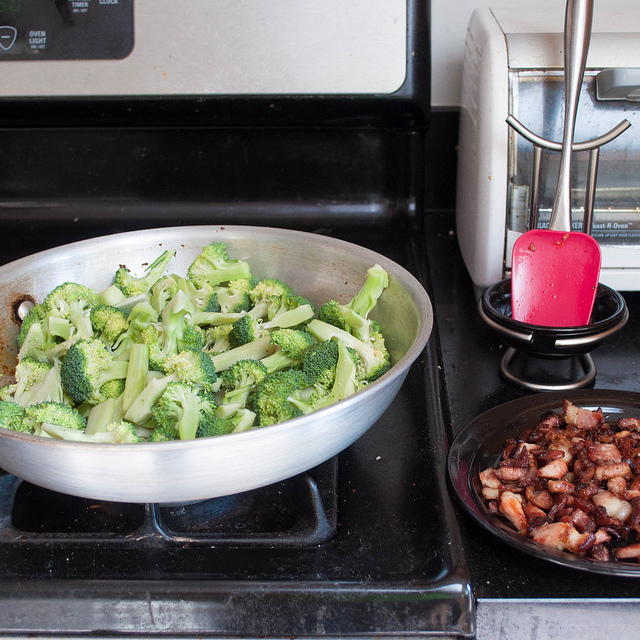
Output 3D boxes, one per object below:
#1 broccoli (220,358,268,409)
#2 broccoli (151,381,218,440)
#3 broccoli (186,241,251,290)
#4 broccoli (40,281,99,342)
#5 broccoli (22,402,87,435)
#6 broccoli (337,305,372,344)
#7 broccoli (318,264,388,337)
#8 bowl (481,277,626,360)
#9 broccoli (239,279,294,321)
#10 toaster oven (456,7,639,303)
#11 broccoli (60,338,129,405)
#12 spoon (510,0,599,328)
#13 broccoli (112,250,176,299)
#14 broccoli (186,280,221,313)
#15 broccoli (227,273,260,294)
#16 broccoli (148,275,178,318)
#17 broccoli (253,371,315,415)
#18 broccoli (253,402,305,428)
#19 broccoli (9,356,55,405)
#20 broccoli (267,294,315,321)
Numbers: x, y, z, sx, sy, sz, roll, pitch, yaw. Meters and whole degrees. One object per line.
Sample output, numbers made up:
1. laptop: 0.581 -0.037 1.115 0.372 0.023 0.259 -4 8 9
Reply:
1. broccoli: -0.086 0.065 0.727 0.044 0.049 0.065 4 22 10
2. broccoli: -0.143 0.093 0.663 0.057 0.062 0.032 26 42 -20
3. broccoli: -0.145 -0.076 0.898 0.063 0.067 0.082 -8 27 -8
4. broccoli: -0.324 -0.023 0.838 0.072 0.082 0.067 -15 28 -22
5. broccoli: -0.273 0.096 0.642 0.035 0.016 0.036 5 4 9
6. broccoli: 0.042 0.008 0.827 0.022 0.028 0.054 13 30 -42
7. broccoli: 0.045 -0.023 0.827 0.066 0.046 0.098 31 82 11
8. bowl: 0.290 -0.028 0.847 0.175 0.102 0.153 -1 16 -1
9. broccoli: -0.074 -0.034 0.861 0.065 0.055 0.058 15 28 24
10. toaster oven: 0.304 -0.227 0.938 0.239 0.410 0.217 -2 28 -3
11. broccoli: -0.262 0.046 0.745 0.070 0.066 0.068 -17 17 -17
12. spoon: 0.304 -0.134 0.856 0.089 0.534 0.089 3 17 10
13. broccoli: -0.244 -0.065 0.900 0.047 0.078 0.036 -24 56 15
14. broccoli: -0.160 -0.029 0.874 0.036 0.021 0.045 -38 83 -26
15. broccoli: -0.108 -0.052 0.889 0.033 0.013 0.026 -36 21 1
16. broccoli: -0.215 -0.033 0.868 0.023 0.041 0.055 12 77 26
17. broccoli: -0.044 0.078 0.687 0.054 0.042 0.078 -8 17 -21
18. broccoli: -0.047 0.104 0.686 0.037 0.035 0.018 -19 3 5
19. broccoli: -0.352 0.073 0.762 0.040 0.067 0.038 9 13 -20
20. broccoli: -0.034 -0.012 0.834 0.040 0.019 0.042 -27 0 39
